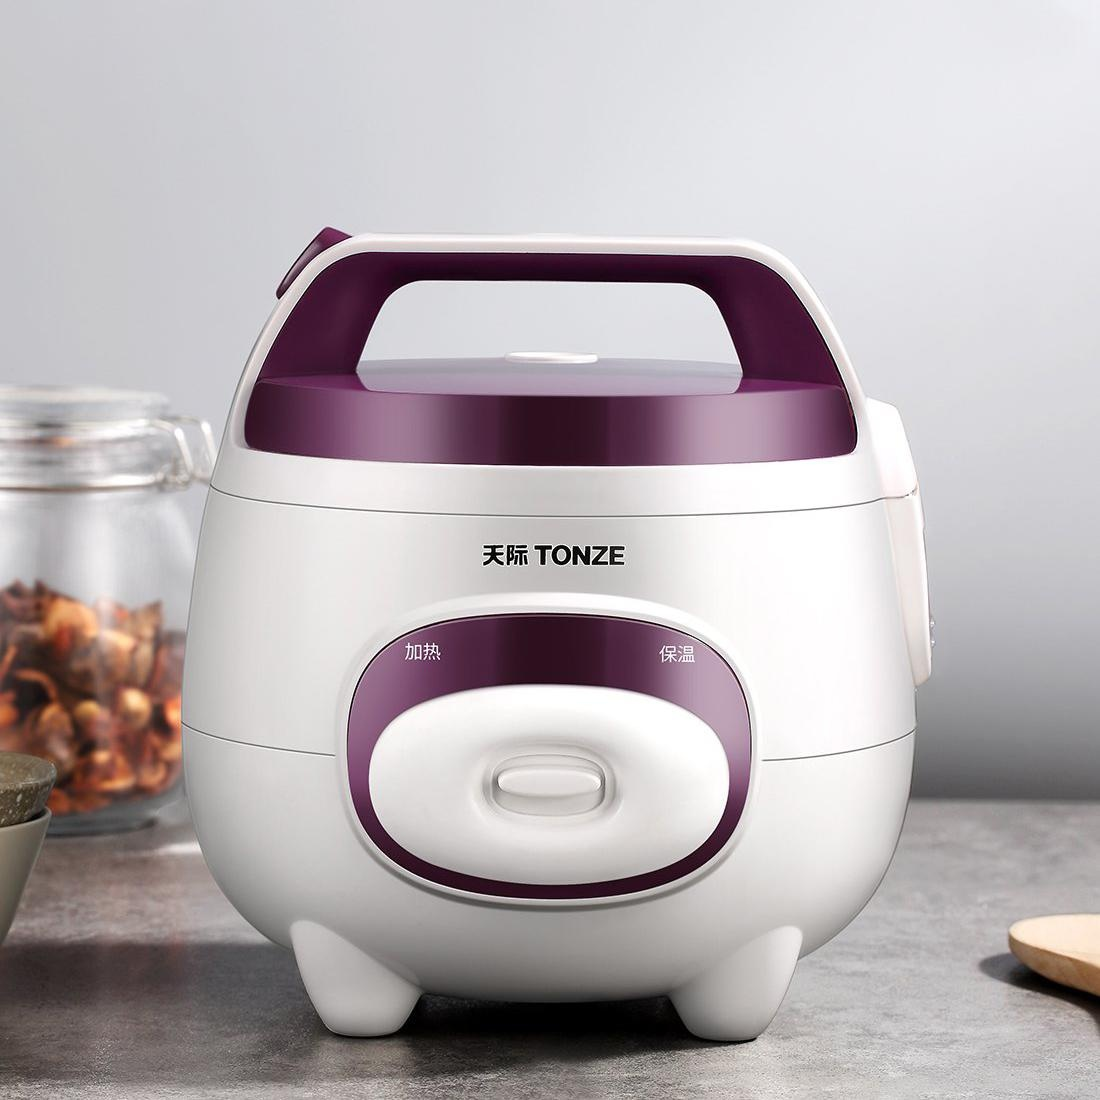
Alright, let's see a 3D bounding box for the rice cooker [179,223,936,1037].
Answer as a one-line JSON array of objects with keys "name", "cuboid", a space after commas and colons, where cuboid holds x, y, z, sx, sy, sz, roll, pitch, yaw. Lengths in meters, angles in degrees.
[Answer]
[{"name": "rice cooker", "cuboid": [0.008, 0.037, 0.564, 0.361, 0.294, 0.307, 0, 0, -4]}]
